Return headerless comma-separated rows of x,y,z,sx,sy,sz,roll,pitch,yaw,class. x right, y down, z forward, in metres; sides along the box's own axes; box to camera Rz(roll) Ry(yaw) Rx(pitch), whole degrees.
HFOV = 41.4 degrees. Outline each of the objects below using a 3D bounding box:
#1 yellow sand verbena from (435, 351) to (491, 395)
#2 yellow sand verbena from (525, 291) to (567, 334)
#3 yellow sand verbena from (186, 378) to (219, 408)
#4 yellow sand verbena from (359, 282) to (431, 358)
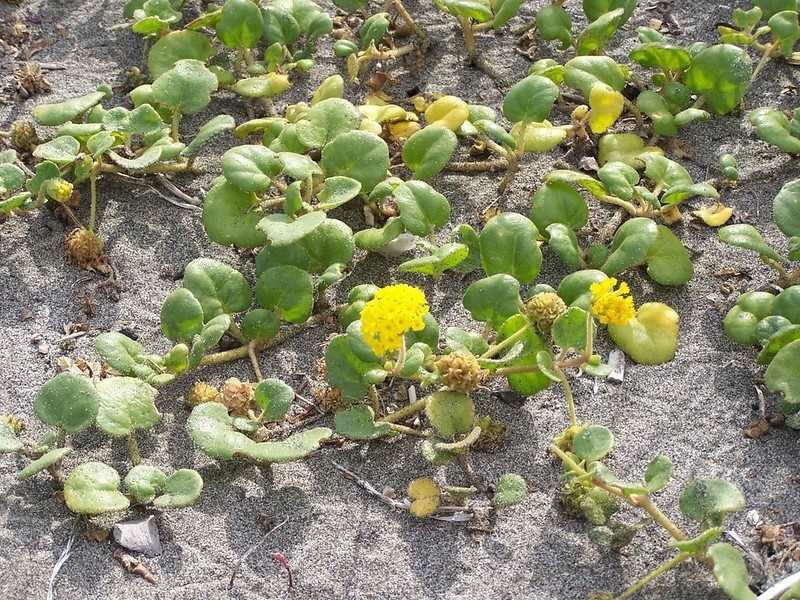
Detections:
0.256,0.299,4.467,0.189,0.158,0.175,-1,98,15,yellow sand verbena
0.615,0.044,4.585,0.177,0.164,0.165,-5,108,-7,yellow sand verbena
-0.866,0.413,4.701,0.116,0.114,0.067,2,93,28,yellow sand verbena
-0.024,0.089,4.338,0.271,0.292,0.221,-17,59,-7,yellow sand verbena
